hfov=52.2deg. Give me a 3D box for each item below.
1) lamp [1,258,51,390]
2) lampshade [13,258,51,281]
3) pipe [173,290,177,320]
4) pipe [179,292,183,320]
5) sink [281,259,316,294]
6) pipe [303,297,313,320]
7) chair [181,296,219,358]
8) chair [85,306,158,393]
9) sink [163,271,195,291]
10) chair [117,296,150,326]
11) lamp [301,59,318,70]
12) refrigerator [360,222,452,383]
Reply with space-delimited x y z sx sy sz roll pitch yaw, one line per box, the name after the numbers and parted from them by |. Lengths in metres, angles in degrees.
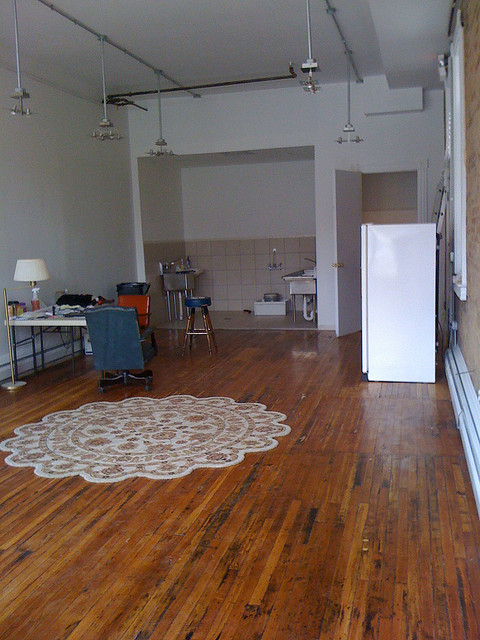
-2.433 0.022 5.482 0.631 1.413 0.585 2 7 43 | lamp
-2.283 -0.575 5.332 0.266 0.196 0.273 1 12 6 | lampshade
-1.333 -0.331 10.074 0.077 0.573 0.054 1 8 42 | pipe
-1.226 -0.303 10.148 0.082 0.518 0.400 -4 5 -7 | pipe
1.140 -0.930 8.950 0.502 0.569 0.857 1 8 6 | sink
1.302 -0.230 9.154 0.154 0.401 0.630 -3 5 8 | pipe
-0.547 0.078 6.784 0.577 0.783 0.624 5 9 41 | chair
-1.242 0.261 5.222 0.632 0.952 0.841 -4 11 -10 | chair
-1.219 -0.739 9.788 0.419 0.279 0.426 0 1 4 | sink
-1.368 -0.116 6.559 0.393 0.522 0.396 1 3 4 | chair
0.473 -1.691 3.236 0.099 0.027 0.100 -2 7 -4 | lamp
1.663 -0.339 5.129 0.751 1.487 0.690 -1 23 16 | refrigerator
